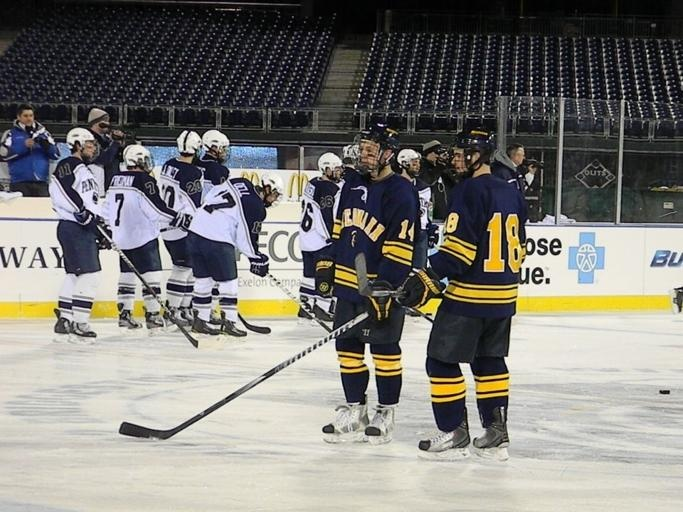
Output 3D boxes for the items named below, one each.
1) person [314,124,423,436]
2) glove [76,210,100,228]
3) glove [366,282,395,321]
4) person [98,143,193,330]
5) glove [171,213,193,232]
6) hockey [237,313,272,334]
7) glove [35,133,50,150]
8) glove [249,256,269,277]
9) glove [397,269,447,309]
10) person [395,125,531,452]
[{"bbox_3d":[0.252,0.246,11.743,1.081,2.714,1.022,12,14,38],"label":"person"},{"bbox_3d":[-2.935,-0.447,14.199,0.090,0.189,0.275,7,7,41],"label":"glove"},{"bbox_3d":[0.364,0.412,11.362,0.243,0.373,0.148,2,6,2],"label":"glove"},{"bbox_3d":[-2.368,-0.321,15.006,0.977,2.294,0.826,0,12,-14],"label":"person"},{"bbox_3d":[-1.946,-0.414,15.051,0.229,0.111,0.277,22,-31,-33],"label":"glove"},{"bbox_3d":[-1.104,0.852,15.484,0.131,0.099,0.803,-2,12,-40],"label":"hockey"},{"bbox_3d":[-4.021,-1.548,16.519,0.182,0.131,0.084,39,20,-23],"label":"glove"},{"bbox_3d":[-0.973,0.132,14.180,0.244,0.188,0.221,1,0,9],"label":"glove"},{"bbox_3d":[0.704,0.266,11.293,0.454,0.342,0.368,-3,12,-36],"label":"glove"},{"bbox_3d":[1.214,0.314,11.624,1.170,2.849,1.136,1,2,24],"label":"person"}]
